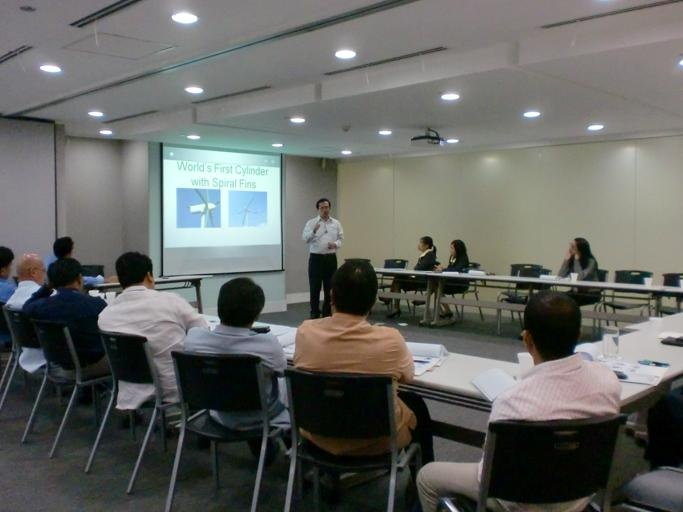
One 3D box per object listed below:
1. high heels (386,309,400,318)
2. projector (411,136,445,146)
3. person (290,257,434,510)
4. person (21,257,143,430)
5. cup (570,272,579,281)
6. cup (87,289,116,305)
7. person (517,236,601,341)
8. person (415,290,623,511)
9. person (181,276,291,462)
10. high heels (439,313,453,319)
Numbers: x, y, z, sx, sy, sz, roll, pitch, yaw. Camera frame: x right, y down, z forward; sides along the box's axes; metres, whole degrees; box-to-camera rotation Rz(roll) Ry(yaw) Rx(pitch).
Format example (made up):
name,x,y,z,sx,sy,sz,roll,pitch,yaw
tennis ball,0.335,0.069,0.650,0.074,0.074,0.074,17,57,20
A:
name,x,y,z,sx,sy,sz,roll,pitch,yaw
high heels,0.873,0.990,8.738,0.093,0.157,0.309,-16,-20,32
projector,1.365,-1.776,7.838,0.277,0.067,0.276,0,0,-41
person,0.145,0.692,2.772,0.789,1.329,0.463,0,6,-3
person,-2.160,0.608,4.203,0.592,1.124,0.670,-14,-10,41
cup,3.172,0.281,7.023,0.110,0.138,0.100,0,-1,0
cup,-2.264,0.383,4.901,0.199,0.077,0.144,2,-1,7
person,3.378,0.393,8.256,1.265,2.376,0.913,4,-10,2
person,0.791,0.716,2.304,0.837,1.085,0.390,1,6,12
person,-0.638,0.706,3.119,0.621,1.122,0.390,-1,6,-5
high heels,1.755,1.002,8.657,0.256,0.102,0.098,2,0,13
